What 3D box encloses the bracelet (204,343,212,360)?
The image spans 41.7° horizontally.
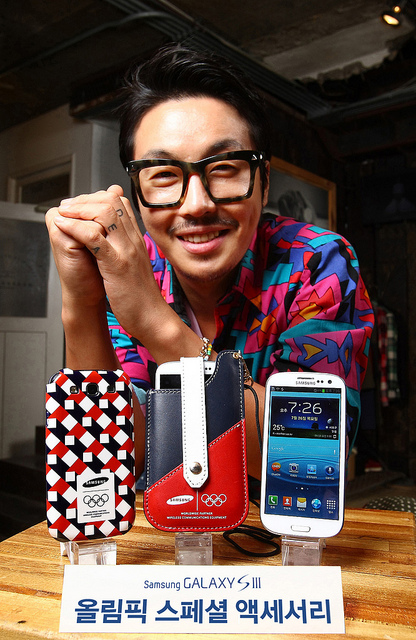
[{"bbox_3d":[0.000,0.046,0.778,0.005,0.018,0.019,11,-13,7],"label":"bracelet"}]

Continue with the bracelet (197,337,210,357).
[{"bbox_3d":[-0.007,0.038,0.768,0.008,0.018,0.014,11,-13,-5],"label":"bracelet"}]
